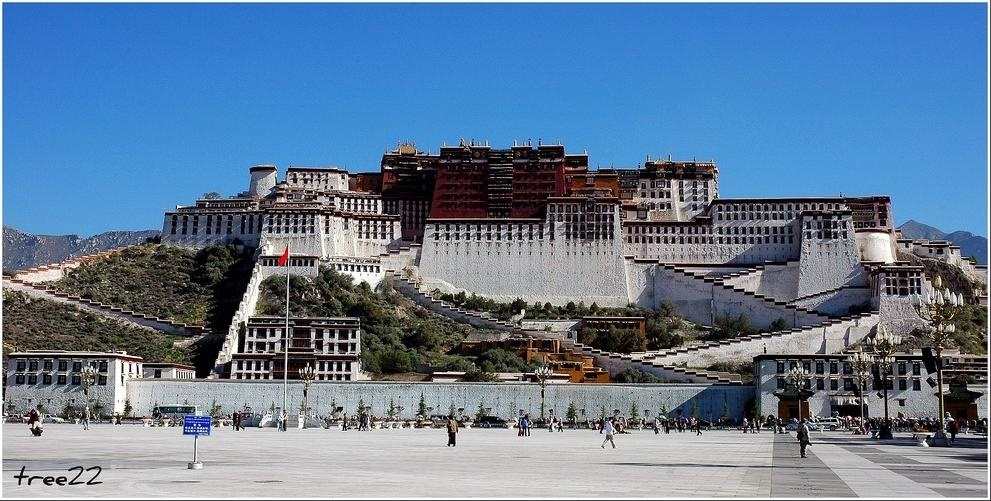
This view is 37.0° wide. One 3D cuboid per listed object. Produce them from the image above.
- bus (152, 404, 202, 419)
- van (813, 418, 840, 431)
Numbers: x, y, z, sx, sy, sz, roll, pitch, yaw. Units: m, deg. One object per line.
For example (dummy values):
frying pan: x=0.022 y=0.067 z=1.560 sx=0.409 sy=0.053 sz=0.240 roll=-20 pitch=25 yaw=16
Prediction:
bus: x=-41.381 y=20.866 z=191.972 sx=5.655 sy=2.008 sz=8.624 roll=2 pitch=-7 yaw=-13
van: x=42.031 y=22.247 z=188.713 sx=3.140 sy=1.143 sz=1.707 roll=3 pitch=-7 yaw=4
